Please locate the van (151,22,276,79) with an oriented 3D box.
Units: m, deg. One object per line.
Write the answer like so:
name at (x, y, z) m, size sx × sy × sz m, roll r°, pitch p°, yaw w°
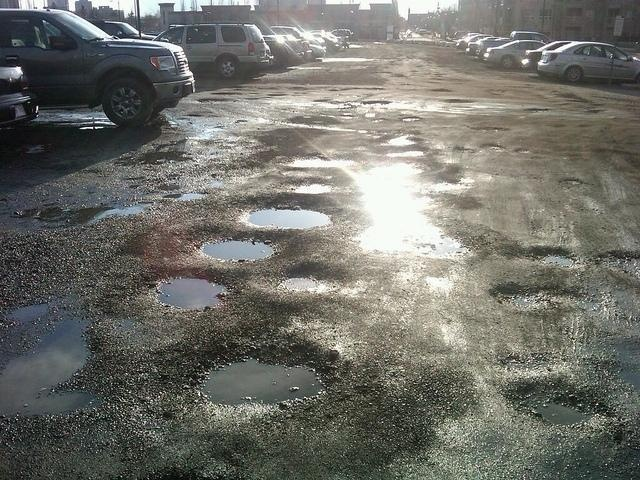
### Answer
van at (-4.827, -8.544, 21.337) m, size 4.961 × 1.625 × 2.422 m, roll 4°, pitch 19°, yaw 2°
